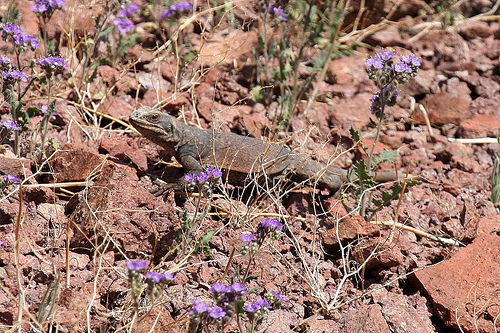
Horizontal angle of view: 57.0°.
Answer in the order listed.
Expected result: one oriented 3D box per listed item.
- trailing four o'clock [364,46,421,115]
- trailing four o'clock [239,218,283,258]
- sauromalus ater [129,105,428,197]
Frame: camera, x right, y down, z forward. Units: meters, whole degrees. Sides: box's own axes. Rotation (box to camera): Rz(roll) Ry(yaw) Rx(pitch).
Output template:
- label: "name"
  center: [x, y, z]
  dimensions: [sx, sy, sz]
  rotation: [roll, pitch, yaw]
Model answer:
- label: "trailing four o'clock"
  center: [1.656, -1.033, 5.559]
  dimensions: [0.614, 0.982, 0.601]
  rotation: [3, -1, 1]
- label: "trailing four o'clock"
  center: [0.093, 0.623, 4.317]
  dimensions: [0.315, 0.396, 0.239]
  rotation: [-3, 13, -8]
- label: "sauromalus ater"
  center: [0.462, 0.046, 6.645]
  dimensions: [4.133, 1.006, 1.378]
  rotation: [6, 20, -9]
